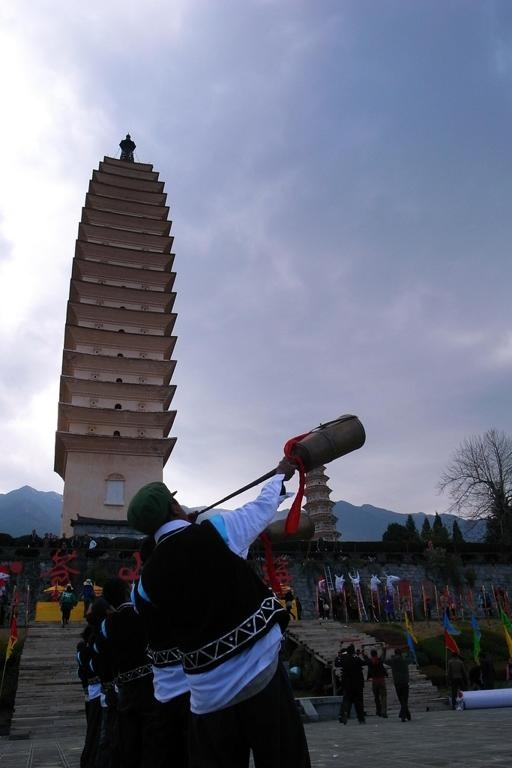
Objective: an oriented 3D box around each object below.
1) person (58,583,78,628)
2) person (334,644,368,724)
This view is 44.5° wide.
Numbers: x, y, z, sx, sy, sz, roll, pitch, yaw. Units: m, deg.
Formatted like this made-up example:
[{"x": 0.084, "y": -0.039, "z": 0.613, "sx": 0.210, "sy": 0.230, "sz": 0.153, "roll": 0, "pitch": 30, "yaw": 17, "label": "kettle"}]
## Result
[{"x": -4.856, "y": 5.700, "z": 16.107, "sx": 0.377, "sy": 1.023, "sz": 1.102, "roll": 0, "pitch": -20, "yaw": -17, "label": "person"}, {"x": 1.531, "y": 5.005, "z": 10.371, "sx": 0.525, "sy": 1.204, "sz": 1.013, "roll": -8, "pitch": -20, "yaw": 5, "label": "person"}]
